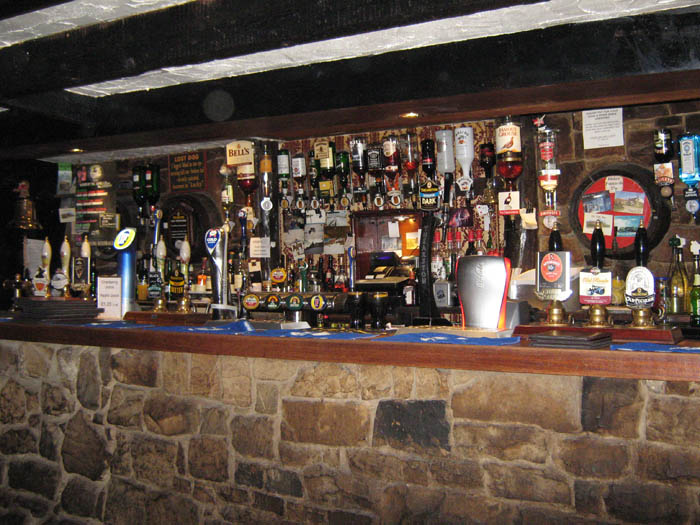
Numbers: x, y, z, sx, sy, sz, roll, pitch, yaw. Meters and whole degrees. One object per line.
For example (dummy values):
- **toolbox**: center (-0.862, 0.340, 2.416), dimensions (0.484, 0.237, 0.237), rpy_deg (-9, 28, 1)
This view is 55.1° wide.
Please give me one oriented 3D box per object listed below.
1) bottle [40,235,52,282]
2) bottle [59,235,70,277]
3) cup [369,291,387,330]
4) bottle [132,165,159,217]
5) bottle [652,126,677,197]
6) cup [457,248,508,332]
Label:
- **bottle**: center (-2.356, -0.029, 5.206), dimensions (0.060, 0.321, 0.478), rpy_deg (0, 2, -23)
- **bottle**: center (-2.189, -0.040, 5.161), dimensions (0.058, 0.295, 0.451), rpy_deg (0, 2, -22)
- **cup**: center (0.192, 0.288, 4.105), dimensions (0.117, 0.213, 0.135), rpy_deg (0, 2, -25)
- **bottle**: center (-2.147, -0.793, 7.087), dimensions (0.253, 0.553, 0.355), rpy_deg (0, 1, -18)
- **bottle**: center (2.642, -0.834, 5.628), dimensions (0.172, 0.572, 0.229), rpy_deg (1, 2, 26)
- **cup**: center (0.734, 0.146, 3.747), dimensions (0.397, 0.552, 0.355), rpy_deg (0, -8, 4)
